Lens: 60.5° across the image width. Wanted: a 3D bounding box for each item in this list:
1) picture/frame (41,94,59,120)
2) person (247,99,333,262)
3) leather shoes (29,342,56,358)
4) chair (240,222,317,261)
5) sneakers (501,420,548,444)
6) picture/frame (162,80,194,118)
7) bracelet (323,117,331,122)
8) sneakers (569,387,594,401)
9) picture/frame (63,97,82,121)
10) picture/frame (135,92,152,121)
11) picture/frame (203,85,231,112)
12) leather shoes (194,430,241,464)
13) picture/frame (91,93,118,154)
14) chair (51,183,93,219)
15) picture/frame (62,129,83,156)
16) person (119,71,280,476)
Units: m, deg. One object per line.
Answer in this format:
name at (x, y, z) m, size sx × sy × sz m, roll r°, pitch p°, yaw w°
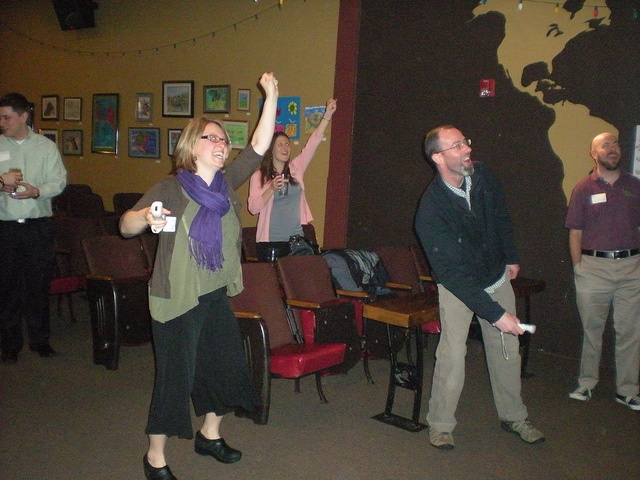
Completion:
picture/frame at (-4.566, -2.263, 9.296) m, size 0.427 × 0.427 × 0.048 m, roll 12°, pitch 19°, yaw 23°
person at (-0.274, -0.277, 5.233) m, size 0.840 × 2.021 × 0.626 m, roll -1°, pitch 9°, yaw -12°
leather shoes at (-2.603, 1.028, 5.158) m, size 0.260 × 0.105 × 0.110 m, roll 3°, pitch 5°, yaw 15°
chair at (-0.457, 0.000, 5.990) m, size 0.511 × 0.613 × 0.530 m, roll -1°, pitch 0°, yaw -34°
sneakers at (1.459, 1.348, 3.946) m, size 0.312 × 0.147 × 0.117 m, roll 2°, pitch 12°, yaw 40°
picture/frame at (-2.054, -2.068, 8.010) m, size 0.604 × 0.572 × 0.045 m, roll 4°, pitch 4°, yaw 27°
bracelet at (0.079, -1.276, 5.799) m, size 0.072 × 0.047 × 0.069 m, roll 0°, pitch 6°, yaw -14°
sneakers at (2.142, 1.269, 4.500) m, size 0.209 × 0.076 × 0.080 m, roll 0°, pitch -4°, yaw 5°
picture/frame at (-4.077, -2.171, 9.059) m, size 0.425 × 0.440 × 0.034 m, roll 6°, pitch 11°, yaw 29°
picture/frame at (-2.676, -2.036, 8.350) m, size 0.448 × 0.560 × 0.042 m, roll 7°, pitch 13°, yaw 25°
picture/frame at (-1.420, -1.975, 7.637) m, size 0.448 × 0.362 × 0.032 m, roll 2°, pitch 3°, yaw 29°
leather shoes at (-0.665, 1.356, 3.622) m, size 0.346 × 0.137 × 0.141 m, roll 9°, pitch 3°, yaw 14°
picture/frame at (-3.424, -1.855, 8.759) m, size 0.615 × 0.928 × 0.191 m, roll 10°, pitch 15°, yaw 36°
chair at (-3.697, -0.611, 8.021) m, size 0.596 × 0.537 × 0.562 m, roll 8°, pitch 1°, yaw -9°
picture/frame at (-4.115, -1.631, 9.127) m, size 0.474 × 0.466 × 0.039 m, roll 3°, pitch 3°, yaw 23°
person at (-0.755, 0.377, 3.203) m, size 0.727 × 2.140 × 0.457 m, roll -5°, pitch 14°, yaw -25°
